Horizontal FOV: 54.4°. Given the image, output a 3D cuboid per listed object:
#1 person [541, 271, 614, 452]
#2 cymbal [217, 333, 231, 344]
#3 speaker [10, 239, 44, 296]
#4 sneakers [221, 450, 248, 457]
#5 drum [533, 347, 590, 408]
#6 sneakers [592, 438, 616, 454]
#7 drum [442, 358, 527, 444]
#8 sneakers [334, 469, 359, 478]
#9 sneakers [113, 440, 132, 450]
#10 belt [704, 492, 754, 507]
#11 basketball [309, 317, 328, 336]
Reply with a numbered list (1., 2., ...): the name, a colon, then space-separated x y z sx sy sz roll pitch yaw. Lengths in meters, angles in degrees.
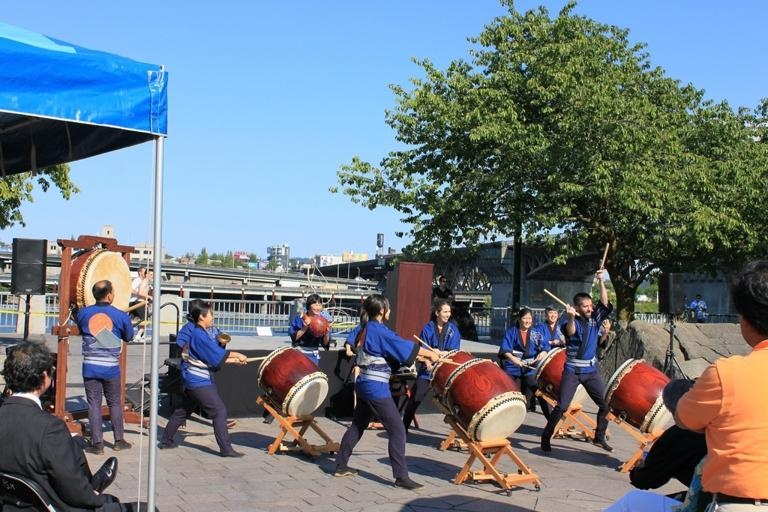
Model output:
1. person: 2.911 1.541 11.213 0.954 2.798 1.517 0 -4 16
2. cymbal: -2.277 1.212 10.678 0.179 0.090 0.178 23 -11 -28
3. speaker: -5.976 0.177 12.582 0.510 0.898 0.548 3 -5 -27
4. sneakers: -2.096 2.730 10.376 0.338 0.098 0.185 3 -5 -22
5. drum: 2.759 1.862 11.880 0.830 0.772 0.609 29 2 -38
6. sneakers: 3.361 2.893 11.497 0.354 0.149 0.130 20 5 33
7. drum: 1.334 1.889 9.382 0.813 0.852 1.036 9 13 -24
8. sneakers: -0.493 2.839 9.788 0.319 0.136 0.117 1 1 -19
9. sneakers: -3.632 2.616 10.438 0.109 0.168 0.238 6 9 36
10. belt: 2.582 1.806 5.569 0.179 0.047 0.179 0 -7 12
11. basketball: -1.076 1.133 12.288 0.315 0.308 0.252 2 -4 -9
